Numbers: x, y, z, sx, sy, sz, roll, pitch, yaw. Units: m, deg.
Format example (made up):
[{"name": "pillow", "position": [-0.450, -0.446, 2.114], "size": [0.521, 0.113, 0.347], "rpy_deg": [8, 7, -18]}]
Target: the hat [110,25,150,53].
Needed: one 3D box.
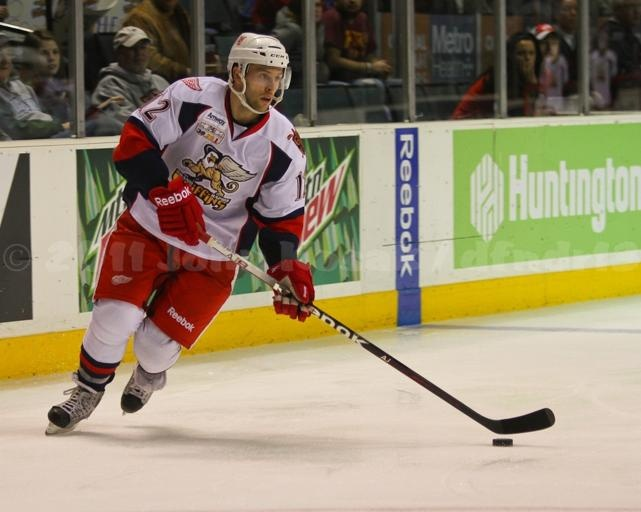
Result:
[{"name": "hat", "position": [-0.999, -1.131, 5.207], "size": [0.113, 0.079, 0.152], "rpy_deg": [-13, 8, -37]}]

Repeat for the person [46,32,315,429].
[{"name": "person", "position": [-0.540, -0.081, 3.931], "size": [0.992, 1.561, 0.419], "rpy_deg": [-1, 8, -9]}]

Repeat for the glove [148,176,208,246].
[{"name": "glove", "position": [-0.530, -0.162, 3.743], "size": [0.167, 0.275, 0.071], "rpy_deg": [-19, 24, 19]}]

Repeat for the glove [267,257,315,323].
[{"name": "glove", "position": [-0.103, 0.124, 3.912], "size": [0.108, 0.234, 0.177], "rpy_deg": [-24, 11, -30]}]

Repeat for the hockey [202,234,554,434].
[{"name": "hockey", "position": [0.228, 0.402, 4.951], "size": [1.340, 0.154, 0.120], "rpy_deg": [31, 53, 0]}]
